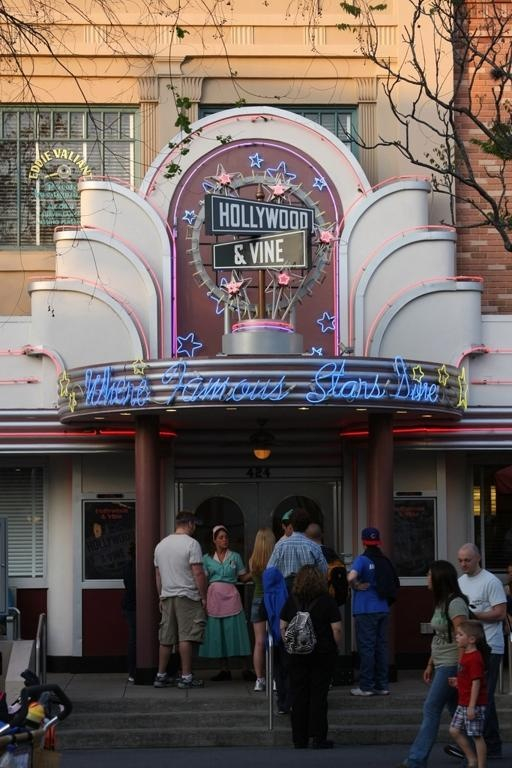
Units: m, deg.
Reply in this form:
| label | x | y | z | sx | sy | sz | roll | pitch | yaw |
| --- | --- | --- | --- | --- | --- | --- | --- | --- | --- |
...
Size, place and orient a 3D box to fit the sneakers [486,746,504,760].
| label | x | y | z | sx | sy | sz | roll | pitch | yaw |
| --- | --- | --- | --- | --- | --- | --- | --- | --- | --- |
| sneakers | 2.235 | 3.370 | 13.565 | 0.096 | 0.118 | 0.231 | -6 | -7 | 43 |

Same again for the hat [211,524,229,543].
| label | x | y | z | sx | sy | sz | roll | pitch | yaw |
| --- | --- | --- | --- | --- | --- | --- | --- | --- | --- |
| hat | -0.382 | 1.652 | 16.672 | 0.165 | 0.238 | 0.205 | 0 | -2 | -11 |

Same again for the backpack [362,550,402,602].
| label | x | y | z | sx | sy | sz | roll | pitch | yaw |
| --- | --- | --- | --- | --- | --- | --- | --- | --- | --- |
| backpack | 1.363 | 2.101 | 15.756 | 0.529 | 0.428 | 0.787 | 2 | 21 | 8 |

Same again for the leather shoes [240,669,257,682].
| label | x | y | z | sx | sy | sz | roll | pitch | yaw |
| --- | --- | --- | --- | --- | --- | --- | --- | --- | --- |
| leather shoes | -0.085 | 3.305 | 16.766 | 0.082 | 0.108 | 0.228 | 8 | -17 | -25 |

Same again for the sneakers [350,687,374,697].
| label | x | y | z | sx | sy | sz | roll | pitch | yaw |
| --- | --- | --- | --- | --- | --- | --- | --- | --- | --- |
| sneakers | 1.114 | 3.203 | 15.459 | 0.235 | 0.107 | 0.087 | 2 | 1 | 39 |

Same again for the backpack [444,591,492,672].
| label | x | y | z | sx | sy | sz | roll | pitch | yaw |
| --- | --- | --- | --- | --- | --- | --- | --- | --- | --- |
| backpack | 1.769 | 2.029 | 12.720 | 0.257 | 0.469 | 0.329 | -20 | -16 | 2 |

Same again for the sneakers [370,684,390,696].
| label | x | y | z | sx | sy | sz | roll | pitch | yaw |
| --- | --- | --- | --- | --- | --- | --- | --- | --- | --- |
| sneakers | 1.321 | 3.188 | 15.469 | 0.078 | 0.103 | 0.226 | 4 | -1 | -40 |

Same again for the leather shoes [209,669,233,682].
| label | x | y | z | sx | sy | sz | roll | pitch | yaw |
| --- | --- | --- | --- | --- | --- | --- | --- | --- | --- |
| leather shoes | -0.372 | 3.295 | 16.737 | 0.251 | 0.114 | 0.106 | 10 | -12 | -30 |

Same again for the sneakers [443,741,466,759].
| label | x | y | z | sx | sy | sz | roll | pitch | yaw |
| --- | --- | --- | --- | --- | --- | --- | --- | --- | --- |
| sneakers | 1.852 | 3.386 | 13.620 | 0.255 | 0.103 | 0.086 | 39 | -18 | -18 |

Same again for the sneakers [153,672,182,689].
| label | x | y | z | sx | sy | sz | roll | pitch | yaw |
| --- | --- | --- | --- | --- | --- | --- | --- | --- | --- |
| sneakers | -0.983 | 3.234 | 16.228 | 0.346 | 0.166 | 0.125 | -1 | 3 | -45 |

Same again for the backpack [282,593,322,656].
| label | x | y | z | sx | sy | sz | roll | pitch | yaw |
| --- | --- | --- | --- | --- | --- | --- | --- | --- | --- |
| backpack | 0.433 | 2.240 | 13.589 | 0.277 | 0.435 | 0.243 | 1 | -4 | 5 |

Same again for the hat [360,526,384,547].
| label | x | y | z | sx | sy | sz | roll | pitch | yaw |
| --- | --- | --- | --- | --- | --- | --- | --- | --- | --- |
| hat | 1.232 | 1.625 | 15.805 | 0.148 | 0.128 | 0.225 | 2 | 8 | -13 |

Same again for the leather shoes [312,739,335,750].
| label | x | y | z | sx | sy | sz | roll | pitch | yaw |
| --- | --- | --- | --- | --- | --- | --- | --- | --- | --- |
| leather shoes | 0.650 | 3.371 | 13.908 | 0.077 | 0.104 | 0.233 | 5 | 2 | 39 |
